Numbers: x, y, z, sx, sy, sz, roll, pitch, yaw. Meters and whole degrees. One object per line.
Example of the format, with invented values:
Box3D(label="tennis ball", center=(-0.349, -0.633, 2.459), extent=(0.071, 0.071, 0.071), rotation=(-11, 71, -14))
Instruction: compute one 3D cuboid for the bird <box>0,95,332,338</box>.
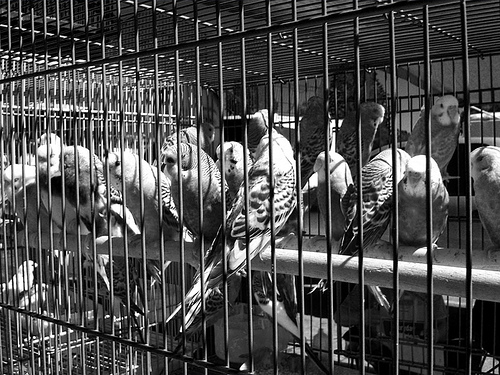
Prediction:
Box3D(label="bird", center=(-0.276, 0.137, 4.915), extent=(0.598, 1.126, 1.883), rotation=(4, -9, -23))

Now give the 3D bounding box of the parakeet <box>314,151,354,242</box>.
Box3D(label="parakeet", center=(0.275, 0.040, 4.625), extent=(0.121, 0.310, 0.146), rotation=(-1, 7, -5))

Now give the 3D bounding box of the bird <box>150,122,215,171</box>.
Box3D(label="bird", center=(-0.257, -0.133, 4.980), extent=(0.105, 0.160, 0.369), rotation=(11, 14, 32))
